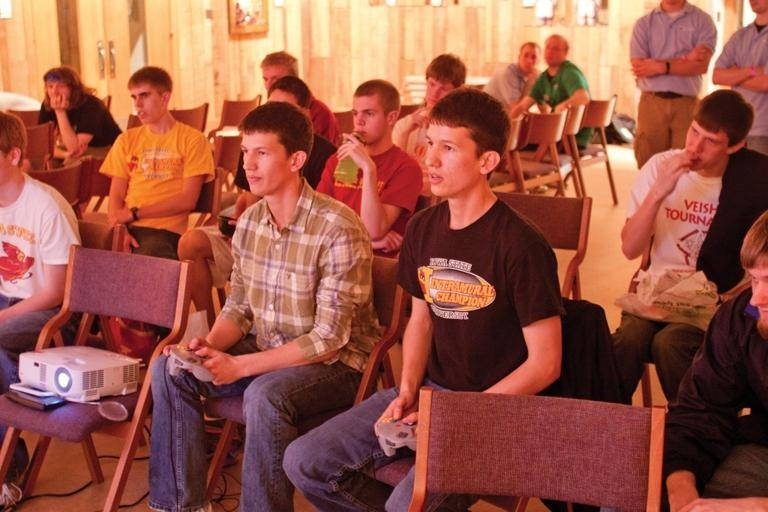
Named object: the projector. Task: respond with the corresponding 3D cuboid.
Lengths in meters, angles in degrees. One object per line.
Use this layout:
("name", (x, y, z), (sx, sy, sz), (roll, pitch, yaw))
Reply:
("projector", (-1.172, 0.466, 2.507), (0.452, 0.153, 0.317), (2, 4, 25))
